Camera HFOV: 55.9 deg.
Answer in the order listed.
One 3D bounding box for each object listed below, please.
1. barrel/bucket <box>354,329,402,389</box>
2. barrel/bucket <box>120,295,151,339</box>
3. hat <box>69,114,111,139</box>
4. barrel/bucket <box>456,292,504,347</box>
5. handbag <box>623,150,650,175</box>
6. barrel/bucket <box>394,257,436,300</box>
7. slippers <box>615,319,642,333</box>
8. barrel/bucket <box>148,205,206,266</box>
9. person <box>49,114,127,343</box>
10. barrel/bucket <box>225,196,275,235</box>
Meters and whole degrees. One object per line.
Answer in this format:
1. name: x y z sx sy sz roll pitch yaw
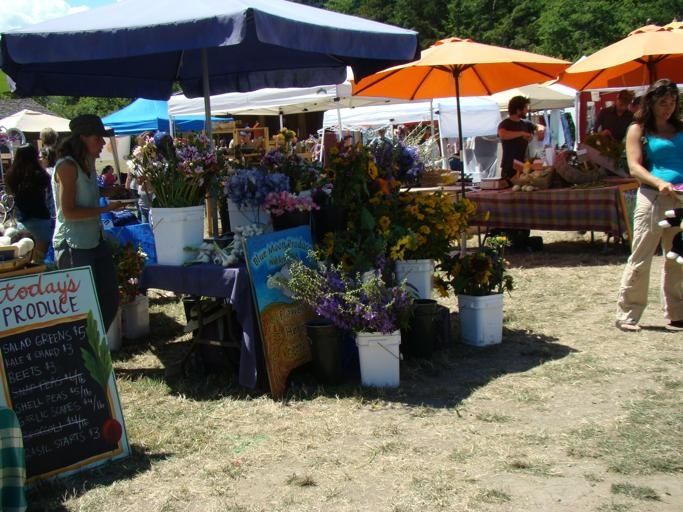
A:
1. barrel/bucket: 0.274 0.760 4.973 0.426 0.454 0.383 -1 -2 -2
2. barrel/bucket: -2.072 0.612 6.410 0.215 0.393 0.403 3 6 17
3. hat: -1.882 -0.963 4.822 0.237 0.129 0.182 -7 13 -22
4. barrel/bucket: 1.224 0.525 5.780 0.431 0.526 0.433 -2 6 0
5. handbag: 2.649 -0.818 5.733 0.144 0.271 0.201 -9 11 0
6. barrel/bucket: 0.632 0.180 5.494 0.354 0.359 0.308 -1 0 10
7. slippers: 2.604 0.615 5.827 0.154 0.059 0.112 7 15 42
8. barrel/bucket: -1.283 -0.209 5.105 0.478 0.544 0.438 0 6 0
9. person: -1.896 -0.210 4.843 0.496 1.648 0.606 -11 15 -31
10. barrel/bucket: -0.764 -0.334 5.244 0.290 0.227 0.288 0 4 0
